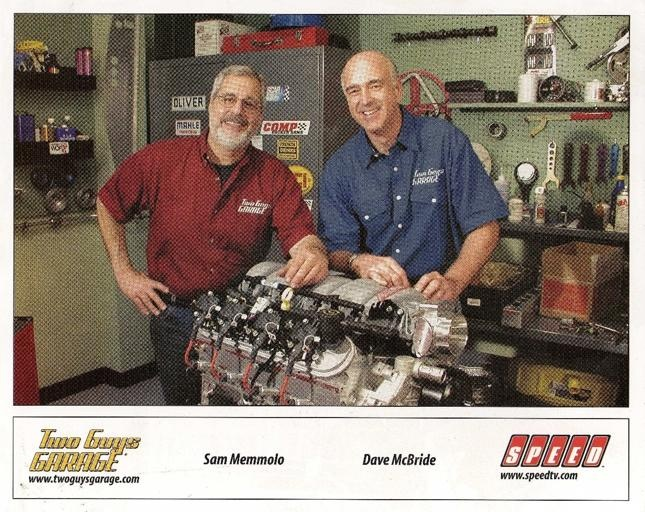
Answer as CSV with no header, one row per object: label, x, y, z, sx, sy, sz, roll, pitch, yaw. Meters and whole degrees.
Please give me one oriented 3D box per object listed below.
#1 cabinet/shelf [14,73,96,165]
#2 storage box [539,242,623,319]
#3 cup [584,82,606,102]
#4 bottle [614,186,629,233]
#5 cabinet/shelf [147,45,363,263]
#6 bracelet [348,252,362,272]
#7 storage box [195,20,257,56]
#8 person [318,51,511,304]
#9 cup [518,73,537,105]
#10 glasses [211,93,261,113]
cabinet/shelf,-1.492,-0.768,2.920,0.227,0.510,0.561,7,13,31
storage box,1.226,0.112,2.512,0.337,0.311,0.346,7,14,32
cup,1.309,-0.790,2.564,0.090,0.098,0.049,6,13,29
bottle,1.377,-0.209,2.446,0.055,0.196,0.059,0,11,0
cabinet/shelf,-0.345,-0.577,2.778,0.945,0.972,0.551,7,32,10
bracelet,0.139,0.016,2.297,0.020,0.063,0.054,9,-7,-10
storage box,-0.518,-1.174,2.868,0.156,0.187,0.300,16,28,31
person,0.392,-0.357,2.264,0.812,0.972,0.284,-1,11,-3
cup,1.019,-0.828,2.640,0.095,0.155,0.107,4,12,20
glasses,-0.375,-0.663,2.327,0.222,0.070,0.025,0,11,-3
